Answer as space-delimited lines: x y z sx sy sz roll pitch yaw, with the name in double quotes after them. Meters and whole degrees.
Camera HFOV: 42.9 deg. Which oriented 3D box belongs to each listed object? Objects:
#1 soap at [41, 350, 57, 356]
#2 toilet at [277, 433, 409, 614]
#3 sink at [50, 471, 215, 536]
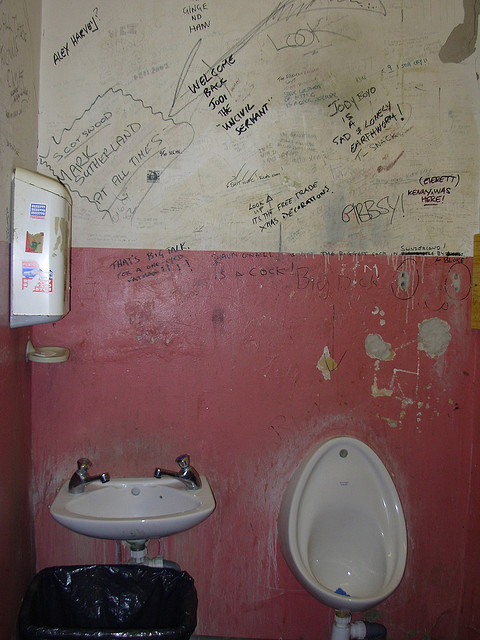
-0.600 0.101 1.909 0.052 0.015 0.037 2 1 25 "soap"
0.336 0.658 1.943 0.316 0.209 0.548 -3 48 0 "toilet"
-0.326 0.566 1.867 0.486 0.174 0.273 1 1 -10 "sink"
